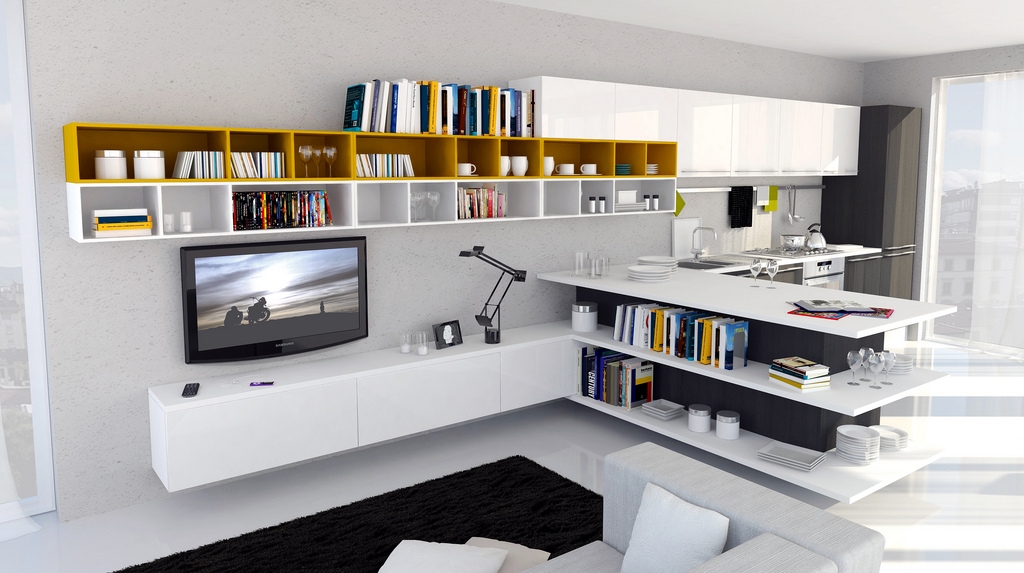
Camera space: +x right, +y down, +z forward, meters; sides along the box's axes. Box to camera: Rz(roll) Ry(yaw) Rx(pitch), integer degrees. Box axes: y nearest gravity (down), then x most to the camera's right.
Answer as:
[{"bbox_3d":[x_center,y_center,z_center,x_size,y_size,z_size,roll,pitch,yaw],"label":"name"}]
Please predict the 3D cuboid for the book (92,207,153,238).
[{"bbox_3d":[-3.052,-0.500,5.293,0.416,0.167,0.282,-4,7,-32],"label":"book"}]

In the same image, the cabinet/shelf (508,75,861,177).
[{"bbox_3d":[2.324,-1.802,8.206,5.844,0.949,0.826,-7,9,-36],"label":"cabinet/shelf"}]

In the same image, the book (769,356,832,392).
[{"bbox_3d":[2.390,0.733,5.709,0.300,0.101,0.366,-4,7,-32],"label":"book"}]

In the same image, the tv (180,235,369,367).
[{"bbox_3d":[-2.165,0.115,5.972,1.526,0.807,0.106,-4,9,-28],"label":"tv"}]

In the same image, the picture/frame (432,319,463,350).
[{"bbox_3d":[-0.642,0.476,6.600,0.351,0.223,0.045,-4,6,-30],"label":"picture/frame"}]

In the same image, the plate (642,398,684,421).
[{"bbox_3d":[1.423,1.179,6.480,0.226,0.062,0.255,-6,8,-41],"label":"plate"}]

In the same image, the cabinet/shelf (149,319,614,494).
[{"bbox_3d":[-1.203,1.067,6.667,4.432,0.684,0.772,-5,12,-42],"label":"cabinet/shelf"}]

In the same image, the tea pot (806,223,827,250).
[{"bbox_3d":[3.963,-0.643,8.848,0.233,0.283,0.458,2,11,22],"label":"tea pot"}]

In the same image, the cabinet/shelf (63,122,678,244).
[{"bbox_3d":[-1.179,-0.953,6.281,5.427,0.665,0.507,-1,4,0],"label":"cabinet/shelf"}]

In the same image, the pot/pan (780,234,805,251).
[{"bbox_3d":[3.639,-0.584,8.845,0.285,0.134,0.276,0,2,-13],"label":"pot/pan"}]

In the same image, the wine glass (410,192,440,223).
[{"bbox_3d":[-0.819,-0.754,6.339,0.364,0.278,0.265,-6,10,-45],"label":"wine glass"}]

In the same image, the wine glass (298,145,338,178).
[{"bbox_3d":[-1.710,-1.117,5.940,0.142,0.264,0.380,7,9,43],"label":"wine glass"}]

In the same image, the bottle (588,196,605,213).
[{"bbox_3d":[0.891,-0.865,7.118,0.094,0.166,0.242,4,5,43],"label":"bottle"}]
